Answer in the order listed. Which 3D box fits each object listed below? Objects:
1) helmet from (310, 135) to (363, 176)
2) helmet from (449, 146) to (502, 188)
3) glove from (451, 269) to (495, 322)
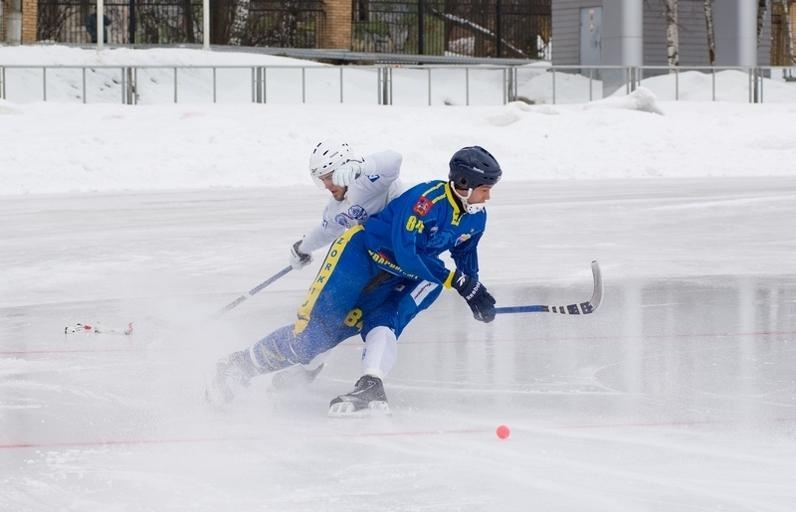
[{"bbox_3d":[-0.562,-0.841,11.845,0.412,0.316,0.303,-15,-18,-33],"label":"helmet"},{"bbox_3d":[0.647,-0.733,11.517,0.445,0.342,0.309,0,15,4],"label":"helmet"},{"bbox_3d":[0.679,0.311,11.567,0.478,0.281,0.156,38,31,6],"label":"glove"}]
